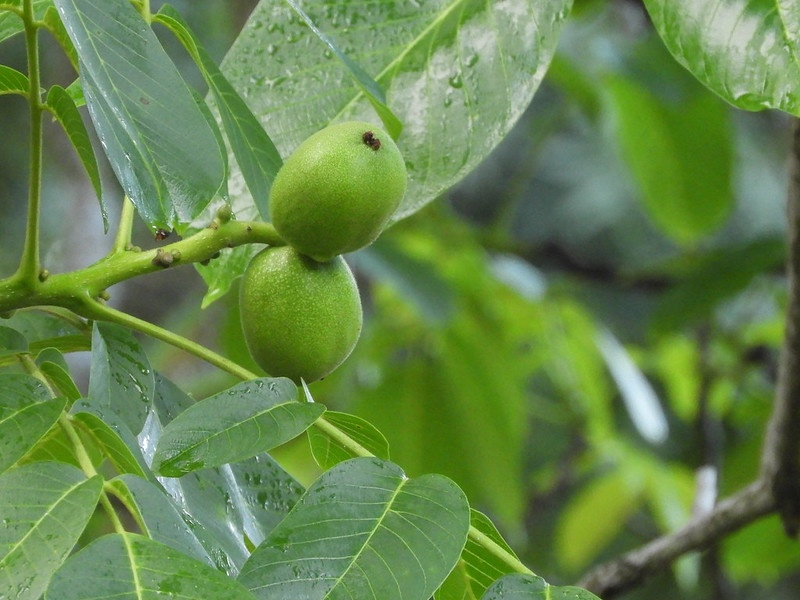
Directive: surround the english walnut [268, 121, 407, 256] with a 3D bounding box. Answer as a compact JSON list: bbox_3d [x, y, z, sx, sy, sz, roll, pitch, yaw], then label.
[{"bbox_3d":[-0.066,-0.119,1.205,0.111,0.149,0.117,25,33,-28],"label":"english walnut"}]
